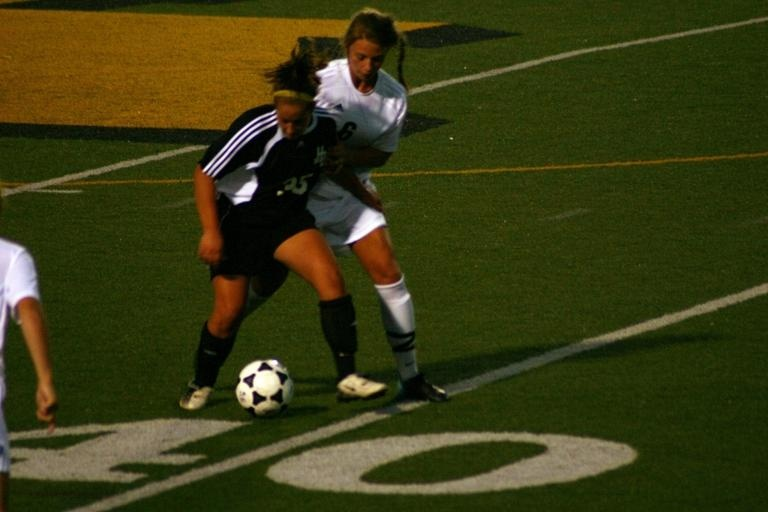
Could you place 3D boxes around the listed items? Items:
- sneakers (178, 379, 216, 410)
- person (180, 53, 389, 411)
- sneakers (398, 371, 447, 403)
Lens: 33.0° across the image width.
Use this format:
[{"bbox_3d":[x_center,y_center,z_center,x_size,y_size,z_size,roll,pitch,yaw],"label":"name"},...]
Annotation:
[{"bbox_3d":[-1.441,1.059,10.012,0.179,0.112,0.283,4,13,11],"label":"sneakers"},{"bbox_3d":[-0.843,-0.158,9.604,1.396,2.665,0.674,-4,15,3],"label":"person"},{"bbox_3d":[0.301,1.011,9.978,0.482,0.173,0.161,1,6,8],"label":"sneakers"}]
